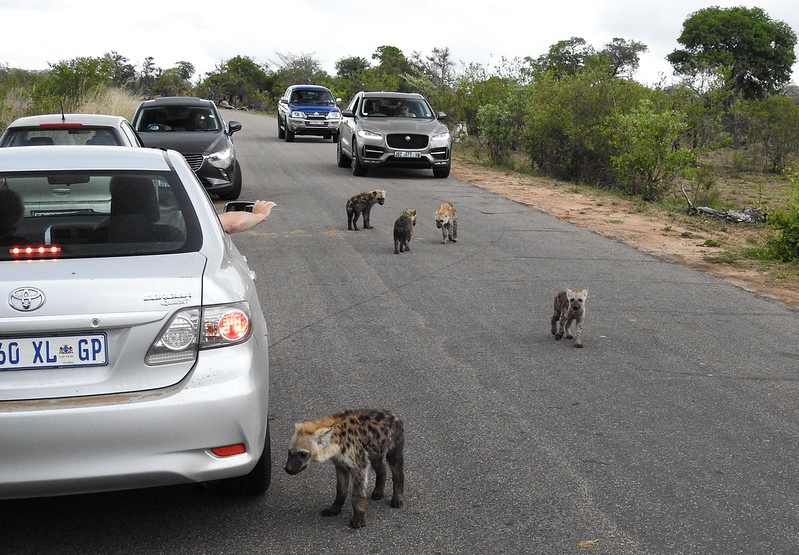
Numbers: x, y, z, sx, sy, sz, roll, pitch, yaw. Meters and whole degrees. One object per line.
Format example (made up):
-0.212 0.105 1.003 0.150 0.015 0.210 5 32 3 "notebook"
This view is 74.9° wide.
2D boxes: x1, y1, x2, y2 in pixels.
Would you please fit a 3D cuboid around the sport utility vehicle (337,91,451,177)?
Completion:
-0.200 -5.334 19.379 4.315 3.092 2.935 7 16 18 "sport utility vehicle"

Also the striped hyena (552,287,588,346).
2.137 0.463 6.612 0.304 0.740 0.997 2 3 0 "striped hyena"

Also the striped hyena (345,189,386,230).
-0.770 -1.569 11.993 0.306 0.841 1.190 13 19 40 "striped hyena"

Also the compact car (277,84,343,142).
-5.094 -9.221 29.380 3.495 3.086 2.489 2 15 0 "compact car"

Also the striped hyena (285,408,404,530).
-0.310 1.200 3.339 0.873 0.692 0.358 3 -7 -40 "striped hyena"

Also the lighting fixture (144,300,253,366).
-1.104 0.301 2.938 0.764 0.248 0.195 -12 -15 23 "lighting fixture"

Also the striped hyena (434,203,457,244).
1.026 -1.159 11.101 0.430 0.821 0.946 4 15 7 "striped hyena"

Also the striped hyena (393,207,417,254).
0.112 -0.953 10.617 0.275 0.680 1.246 6 21 9 "striped hyena"
